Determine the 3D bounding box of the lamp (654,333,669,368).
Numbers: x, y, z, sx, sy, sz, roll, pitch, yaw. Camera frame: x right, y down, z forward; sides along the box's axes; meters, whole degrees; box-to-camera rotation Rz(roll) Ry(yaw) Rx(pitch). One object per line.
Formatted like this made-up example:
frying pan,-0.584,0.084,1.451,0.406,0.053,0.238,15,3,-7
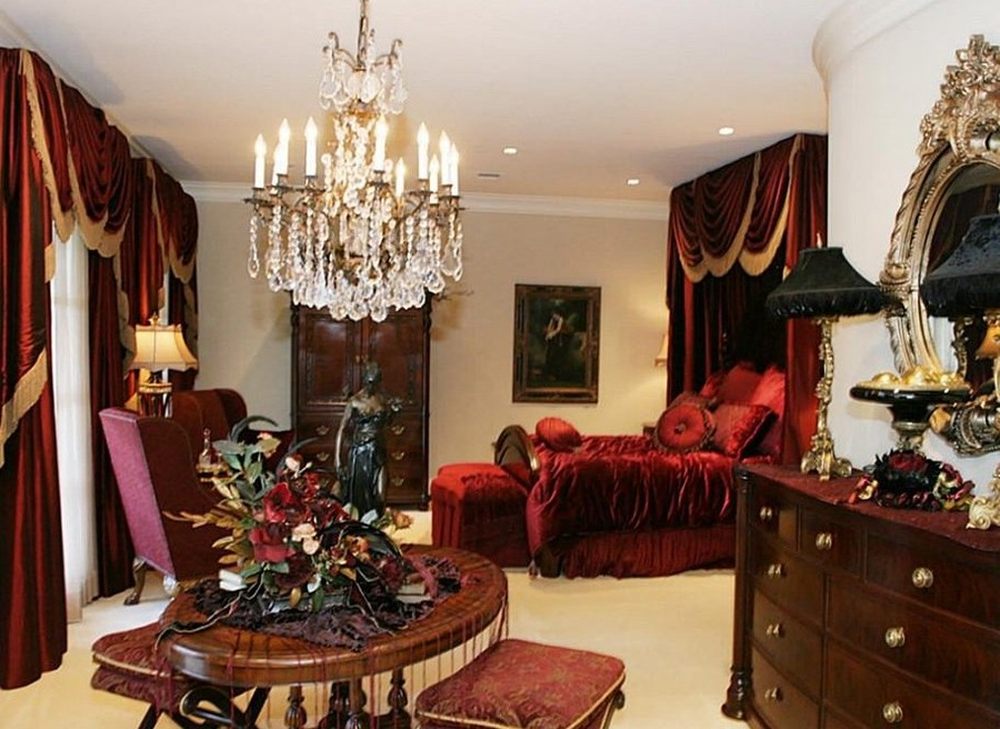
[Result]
lamp,1.583,-0.110,7.833,0.219,0.303,0.252,1,2,1

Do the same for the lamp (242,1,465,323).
lamp,-0.904,-1.290,4.922,1.059,2.079,1.131,4,12,11

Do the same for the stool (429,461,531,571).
stool,-0.156,1.075,6.026,0.601,0.657,0.807,0,2,-20

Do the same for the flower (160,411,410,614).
flower,-0.838,0.656,3.250,0.660,0.379,0.694,-7,20,-1

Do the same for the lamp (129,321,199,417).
lamp,-2.534,0.048,5.914,0.403,0.671,0.823,-2,0,-32
